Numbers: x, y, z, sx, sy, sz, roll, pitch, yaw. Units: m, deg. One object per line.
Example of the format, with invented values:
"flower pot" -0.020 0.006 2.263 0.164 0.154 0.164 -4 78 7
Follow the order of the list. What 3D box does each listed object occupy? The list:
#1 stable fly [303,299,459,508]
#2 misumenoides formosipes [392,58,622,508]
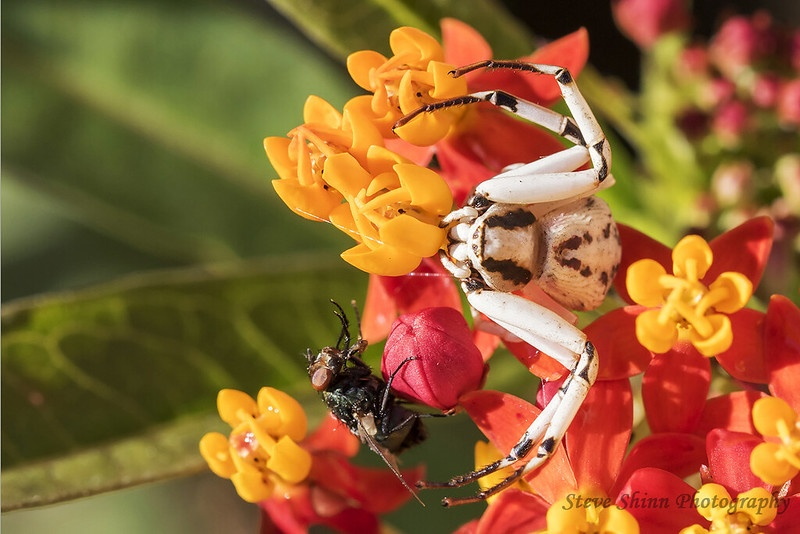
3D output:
"stable fly" -0.030 0.154 1.004 0.121 0.224 0.159 12 33 31
"misumenoides formosipes" 0.114 0.012 0.944 0.184 0.480 0.240 -7 -20 12
